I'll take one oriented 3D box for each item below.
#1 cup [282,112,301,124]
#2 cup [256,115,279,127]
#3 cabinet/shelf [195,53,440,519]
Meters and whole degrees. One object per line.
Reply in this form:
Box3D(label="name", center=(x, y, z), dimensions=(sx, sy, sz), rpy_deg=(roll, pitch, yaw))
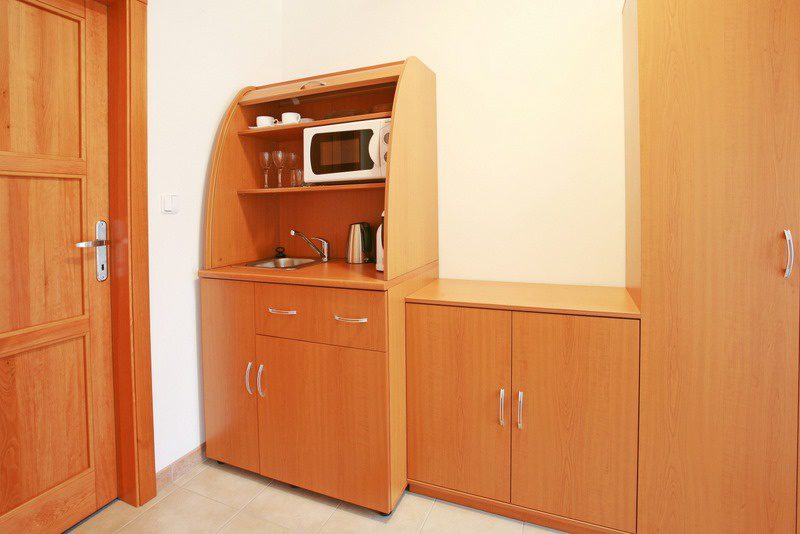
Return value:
Box3D(label="cup", center=(-0.611, -0.841, 3.577), dimensions=(0.109, 0.074, 0.081), rpy_deg=(2, -1, -6))
Box3D(label="cup", center=(-0.745, -0.813, 3.575), dimensions=(0.111, 0.046, 0.083), rpy_deg=(2, 5, 14))
Box3D(label="cabinet/shelf", center=(-0.461, 0.058, 3.479), dimensions=(1.135, 2.277, 0.762), rpy_deg=(0, 9, 24))
